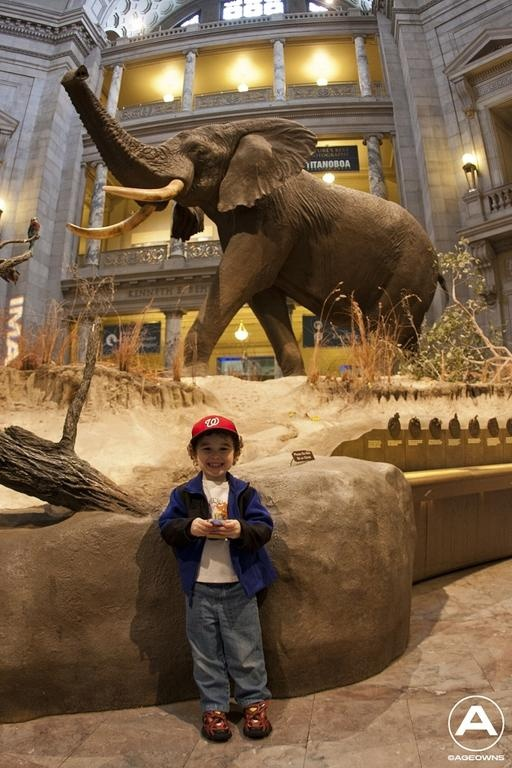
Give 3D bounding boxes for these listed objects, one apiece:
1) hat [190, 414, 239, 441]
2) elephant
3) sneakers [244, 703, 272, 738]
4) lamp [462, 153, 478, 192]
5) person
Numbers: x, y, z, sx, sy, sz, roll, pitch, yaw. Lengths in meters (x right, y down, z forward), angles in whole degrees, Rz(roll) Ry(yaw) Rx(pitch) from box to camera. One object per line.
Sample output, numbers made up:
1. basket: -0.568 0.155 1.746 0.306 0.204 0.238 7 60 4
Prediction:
1. hat: -0.135 0.137 1.822 0.119 0.092 0.194 1 3 6
2. elephant: 0.043 -1.116 6.809 5.487 3.448 2.016 17 -19 -22
3. sneakers: 0.006 0.966 1.546 0.079 0.087 0.161 0 -5 0
4. lamp: 4.882 -4.875 12.038 0.285 1.211 0.690 -2 -6 23
5. person: -0.125 0.561 1.666 0.359 0.927 0.358 0 -5 1
